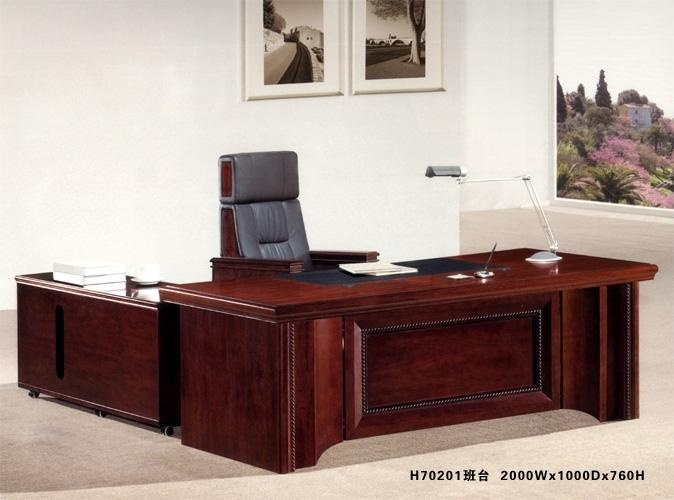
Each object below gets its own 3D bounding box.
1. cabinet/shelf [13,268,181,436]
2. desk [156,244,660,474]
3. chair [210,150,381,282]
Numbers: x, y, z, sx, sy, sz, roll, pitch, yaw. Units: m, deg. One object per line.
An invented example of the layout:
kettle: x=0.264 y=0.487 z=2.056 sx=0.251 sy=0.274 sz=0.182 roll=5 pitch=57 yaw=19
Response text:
cabinet/shelf: x=-1.271 y=0.535 z=3.668 sx=1.192 sy=0.699 sz=0.418 roll=4 pitch=6 yaw=30
desk: x=0.389 y=0.525 z=3.228 sx=2.257 sy=0.837 sz=0.561 roll=-5 pitch=12 yaw=-21
chair: x=-0.256 y=-0.035 z=4.095 sx=0.818 sy=1.041 sz=0.813 roll=6 pitch=9 yaw=38
